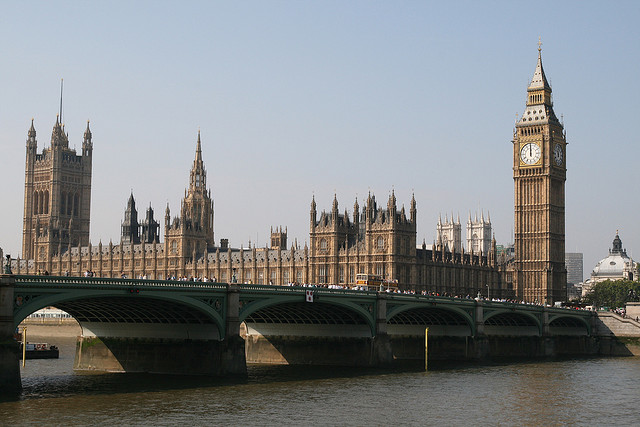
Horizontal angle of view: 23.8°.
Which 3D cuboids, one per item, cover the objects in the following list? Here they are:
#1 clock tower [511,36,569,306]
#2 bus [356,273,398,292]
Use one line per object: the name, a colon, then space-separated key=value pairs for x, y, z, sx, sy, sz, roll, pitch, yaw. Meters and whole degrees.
clock tower: x=39.079 y=-6.549 z=274.555 sx=9.195 sy=46.868 sz=6.697 roll=-2 pitch=-6 yaw=6
bus: x=8.394 y=9.694 z=214.850 sx=2.853 sy=1.926 sz=5.197 roll=-6 pitch=-12 yaw=43
